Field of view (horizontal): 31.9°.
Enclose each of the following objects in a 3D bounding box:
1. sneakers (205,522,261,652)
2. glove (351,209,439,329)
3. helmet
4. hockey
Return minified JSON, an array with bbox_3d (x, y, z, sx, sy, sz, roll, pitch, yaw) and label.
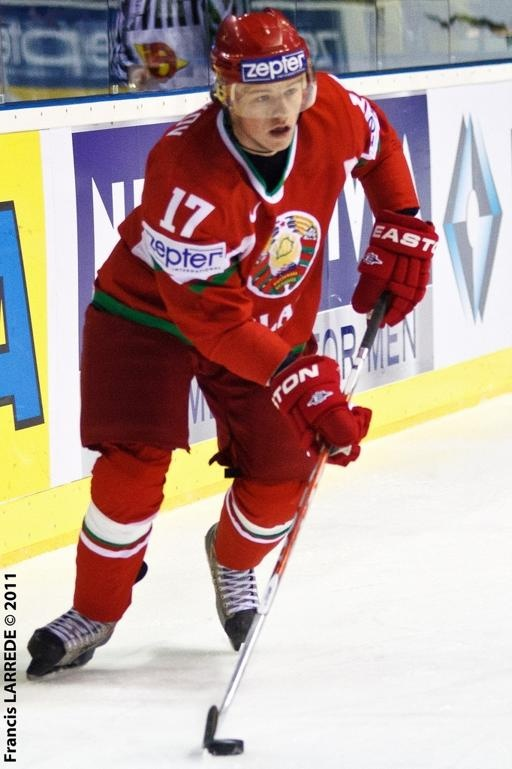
[{"bbox_3d":[-0.065,0.479,2.130,0.105,0.278,0.117,-13,-10,-19],"label":"sneakers"},{"bbox_3d":[0.297,-0.256,1.961,0.171,0.247,0.110,18,10,-12],"label":"glove"},{"bbox_3d":[0.004,-0.557,1.526,0.183,0.163,0.177,2,36,9],"label":"helmet"},{"bbox_3d":[0.080,0.346,1.989,0.087,0.995,0.185,26,-15,1],"label":"hockey"}]
